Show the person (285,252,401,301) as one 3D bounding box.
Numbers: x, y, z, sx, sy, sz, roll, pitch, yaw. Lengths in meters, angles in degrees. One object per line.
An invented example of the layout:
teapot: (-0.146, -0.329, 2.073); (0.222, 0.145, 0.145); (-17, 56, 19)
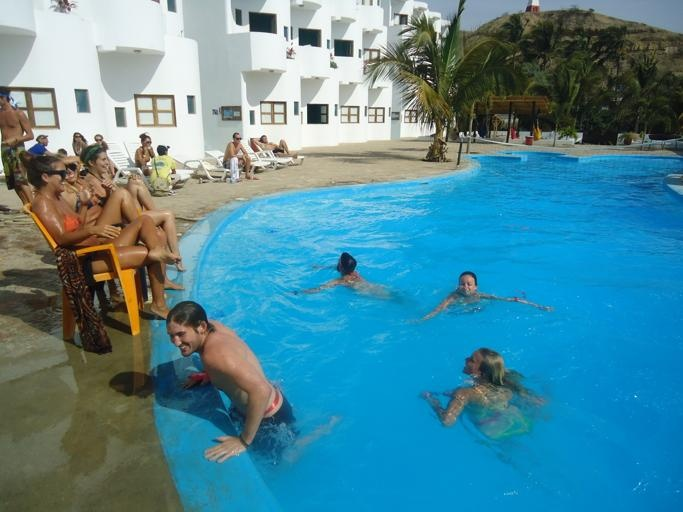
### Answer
person: (0.160, 0.311, 7.425); (1.578, 0.722, 0.516); (1, 14, 7)

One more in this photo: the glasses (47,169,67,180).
glasses: (-2.902, -0.836, 4.612); (0.101, 0.119, 0.220); (0, 14, 5)

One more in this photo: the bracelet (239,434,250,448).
bracelet: (-0.757, 1.430, 3.483); (0.036, 0.099, 0.073); (-39, -1, -41)

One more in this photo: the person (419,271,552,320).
person: (2.019, 0.499, 6.975); (0.931, 0.379, 1.327); (-5, 12, 32)

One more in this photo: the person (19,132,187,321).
person: (-2.493, -0.177, 4.899); (1.507, 1.823, 0.795); (-4, 20, -6)

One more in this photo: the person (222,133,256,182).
person: (-3.379, -3.254, 14.691); (0.967, 1.405, 2.319); (-4, 14, -11)

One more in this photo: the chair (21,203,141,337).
chair: (-2.562, 0.206, 4.658); (0.843, 1.204, 0.739); (-9, 16, -29)

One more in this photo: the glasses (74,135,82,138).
glasses: (-7.225, -3.273, 12.277); (0.092, 0.056, 0.129); (5, 7, -8)

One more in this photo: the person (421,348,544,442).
person: (1.466, 1.380, 4.644); (0.970, 0.611, 0.776); (11, 21, 39)
